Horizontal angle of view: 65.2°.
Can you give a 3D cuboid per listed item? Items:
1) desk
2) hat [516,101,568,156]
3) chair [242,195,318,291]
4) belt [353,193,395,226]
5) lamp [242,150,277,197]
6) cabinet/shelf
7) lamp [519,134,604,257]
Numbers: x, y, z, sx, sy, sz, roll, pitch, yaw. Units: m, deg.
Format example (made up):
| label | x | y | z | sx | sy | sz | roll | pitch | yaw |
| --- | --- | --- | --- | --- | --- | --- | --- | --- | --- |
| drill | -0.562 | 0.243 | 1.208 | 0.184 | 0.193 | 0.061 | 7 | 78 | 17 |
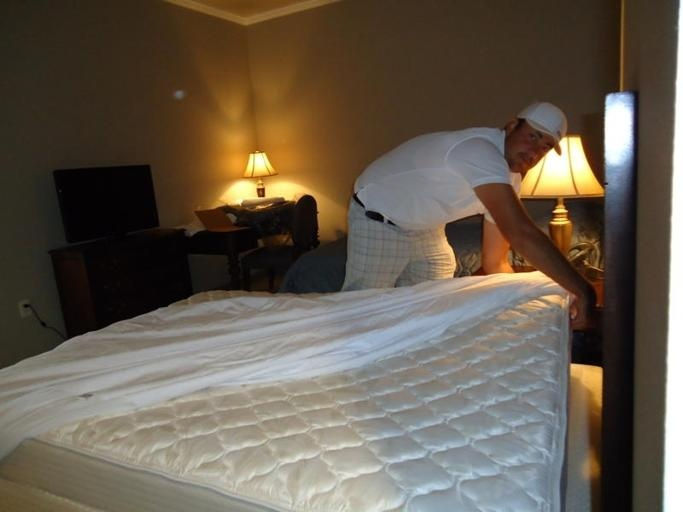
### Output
| label | x | y | z | sx | sy | sz | roll | pitch | yaw |
| --- | --- | --- | --- | --- | --- | --- | --- | --- | --- |
| desk | -1.036 | 0.076 | 4.233 | 0.429 | 0.524 | 0.535 | -5 | 2 | -12 |
| hat | 0.767 | -0.525 | 2.144 | 0.156 | 0.117 | 0.210 | 21 | 23 | -29 |
| chair | -0.493 | -0.088 | 4.326 | 0.499 | 0.914 | 0.528 | 6 | 14 | 20 |
| belt | 0.142 | -0.189 | 2.448 | 0.045 | 0.182 | 0.131 | -46 | 22 | -3 |
| lamp | -0.784 | -0.789 | 5.156 | 0.306 | 0.432 | 0.363 | -7 | 8 | -6 |
| cabinet/shelf | -1.383 | 0.158 | 3.235 | 0.185 | 0.564 | 0.581 | -2 | 17 | 39 |
| lamp | 1.038 | -0.256 | 2.549 | 0.343 | 0.566 | 0.363 | -7 | 2 | -17 |
